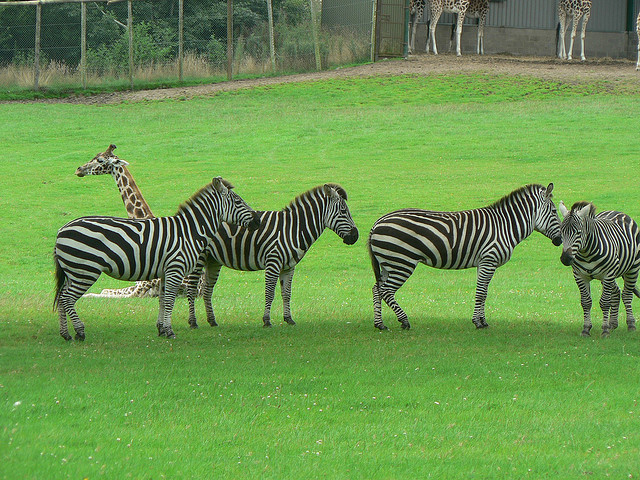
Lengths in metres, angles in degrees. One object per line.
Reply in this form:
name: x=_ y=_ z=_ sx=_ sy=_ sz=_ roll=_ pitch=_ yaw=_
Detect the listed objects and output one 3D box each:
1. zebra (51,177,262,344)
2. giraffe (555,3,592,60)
zebra: x=-3.510 y=0.496 z=22.721 sx=4.506 sy=3.689 sz=1.341 roll=-1 pitch=5 yaw=-18
giraffe: x=11.854 y=-9.930 z=49.060 sx=1.725 sy=2.881 sz=8.464 roll=2 pitch=7 yaw=14
